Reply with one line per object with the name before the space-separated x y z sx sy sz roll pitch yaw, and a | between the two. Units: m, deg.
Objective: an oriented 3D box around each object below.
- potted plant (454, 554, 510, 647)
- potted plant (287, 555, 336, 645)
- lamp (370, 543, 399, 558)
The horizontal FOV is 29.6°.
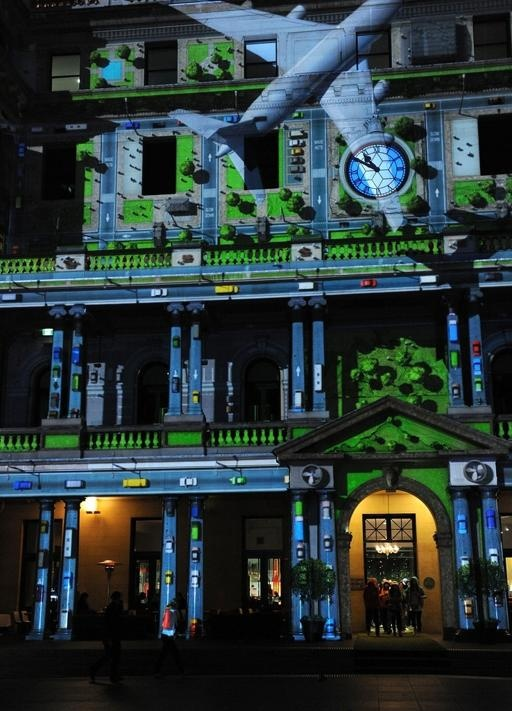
potted plant | 5.413 5.913 23.339 1.063 1.902 1.376 -10 -17 34
potted plant | 1.435 6.018 23.692 0.940 1.941 0.669 6 -15 -24
lamp | 3.711 5.559 27.587 0.728 0.354 0.122 -5 -15 19
